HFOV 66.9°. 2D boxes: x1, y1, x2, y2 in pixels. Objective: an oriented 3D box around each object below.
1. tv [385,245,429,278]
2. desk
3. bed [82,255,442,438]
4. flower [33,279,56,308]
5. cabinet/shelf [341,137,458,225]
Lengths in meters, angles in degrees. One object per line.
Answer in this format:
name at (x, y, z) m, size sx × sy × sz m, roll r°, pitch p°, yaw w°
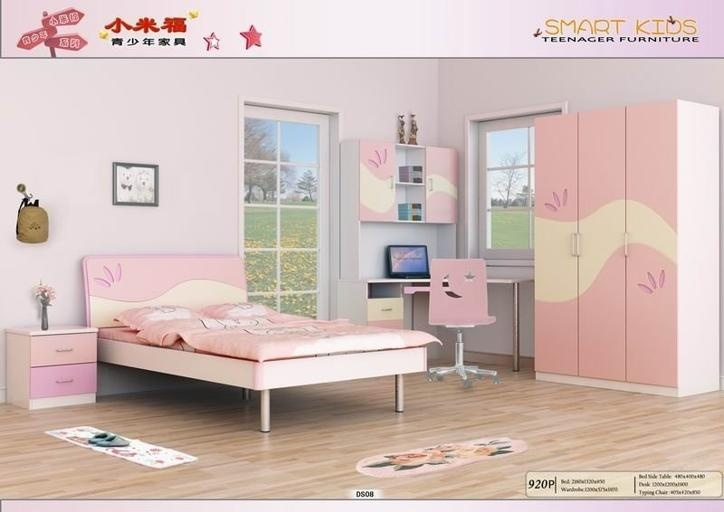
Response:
tv at (0.634, 0.077, 6.643) m, size 0.681 × 0.388 × 0.367 m, roll 0°, pitch 4°, yaw -43°
desk at (0.847, 0.586, 6.166) m, size 1.517 × 0.783 × 1.498 m, roll -3°, pitch -4°, yaw 41°
bed at (-0.965, 0.585, 4.656) m, size 2.559 × 0.938 × 1.679 m, roll 2°, pitch 1°, yaw 38°
flower at (-2.657, 0.330, 4.590) m, size 0.257 × 0.213 × 0.220 m, roll 0°, pitch -3°, yaw -19°
cabinet/shelf at (0.454, -0.867, 6.746) m, size 1.669 × 0.862 × 0.439 m, roll -3°, pitch 5°, yaw -39°
